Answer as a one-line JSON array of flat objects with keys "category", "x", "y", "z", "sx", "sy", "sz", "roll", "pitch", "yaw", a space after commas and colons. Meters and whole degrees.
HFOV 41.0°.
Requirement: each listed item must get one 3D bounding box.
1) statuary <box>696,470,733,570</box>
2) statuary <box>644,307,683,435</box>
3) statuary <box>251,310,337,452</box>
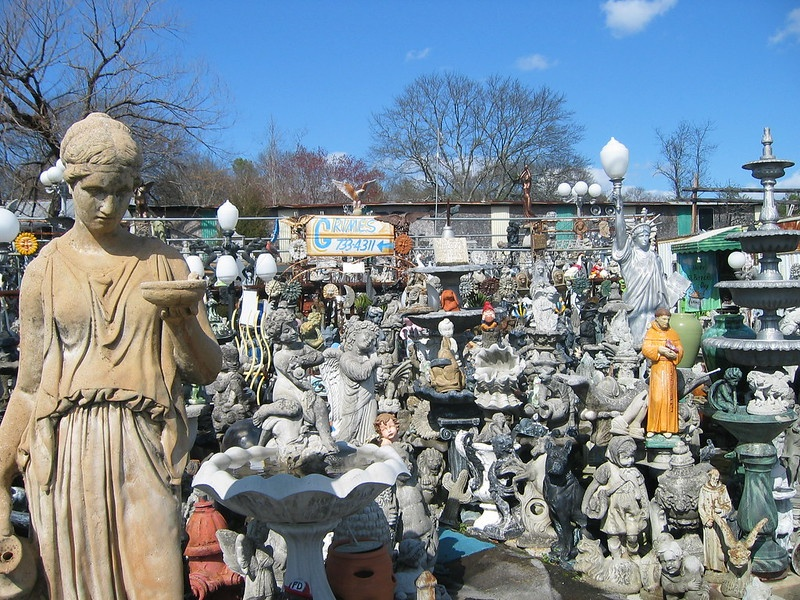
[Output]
[{"category": "statuary", "x": 2.706, "y": 1.861, "z": 9.083, "sx": 0.263, "sy": 0.821, "sz": 0.219, "roll": -3, "pitch": 0, "yaw": 11}, {"category": "statuary", "x": 2.437, "y": 0.647, "z": 9.914, "sx": 0.342, "sy": 0.800, "sz": 0.430, "roll": -2, "pitch": 1, "yaw": 15}, {"category": "statuary", "x": -0.872, "y": 0.608, "z": 8.857, "sx": 0.677, "sy": 0.984, "sz": 0.666, "roll": -2, "pitch": 1, "yaw": 5}]
